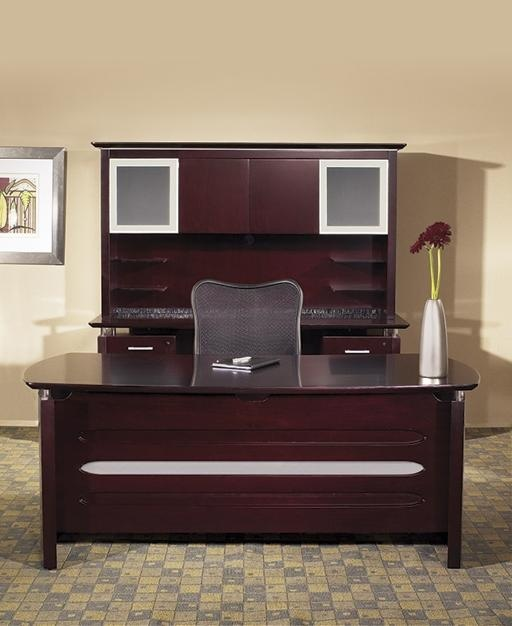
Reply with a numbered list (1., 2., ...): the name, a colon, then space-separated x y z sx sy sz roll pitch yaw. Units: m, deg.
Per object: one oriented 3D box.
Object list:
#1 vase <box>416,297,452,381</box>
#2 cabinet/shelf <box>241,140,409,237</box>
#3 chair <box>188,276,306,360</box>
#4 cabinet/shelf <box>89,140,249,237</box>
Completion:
1. vase: 0.638 0.093 2.217 0.096 0.275 0.123 1 5 15
2. cabinet/shelf: 0.369 -0.747 3.919 0.982 0.550 0.302 -1 4 -8
3. chair: -0.050 0.017 2.970 0.416 0.631 0.407 1 3 0
4. cabinet/shelf: -0.628 -0.813 4.093 0.323 0.545 0.995 -11 16 -35
